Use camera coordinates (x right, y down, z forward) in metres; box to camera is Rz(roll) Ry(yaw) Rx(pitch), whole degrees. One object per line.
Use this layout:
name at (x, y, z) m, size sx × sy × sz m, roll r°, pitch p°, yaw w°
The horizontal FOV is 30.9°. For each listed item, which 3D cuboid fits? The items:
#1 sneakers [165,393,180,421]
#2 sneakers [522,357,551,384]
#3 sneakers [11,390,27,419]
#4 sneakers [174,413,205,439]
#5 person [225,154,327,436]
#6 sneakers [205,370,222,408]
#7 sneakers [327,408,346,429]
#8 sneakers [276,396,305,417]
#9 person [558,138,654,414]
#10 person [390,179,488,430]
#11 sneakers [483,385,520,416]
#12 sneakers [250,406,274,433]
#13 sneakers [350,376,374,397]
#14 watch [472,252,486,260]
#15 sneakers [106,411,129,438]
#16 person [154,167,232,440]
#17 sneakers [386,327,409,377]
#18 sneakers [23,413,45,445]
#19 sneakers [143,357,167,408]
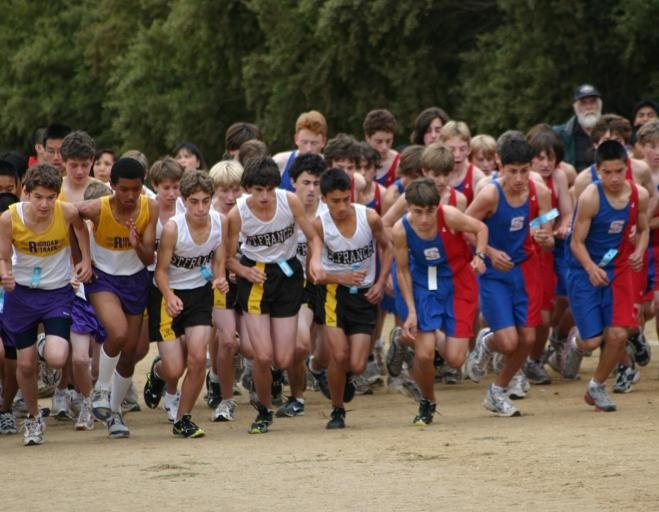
sneakers at (-1.626, 1.562, 12.294) m, size 0.139 × 0.182 × 0.400 m, roll -4°, pitch -4°, yaw -17°
sneakers at (2.387, 1.299, 13.391) m, size 0.165 × 0.230 × 0.490 m, roll 1°, pitch -2°, yaw -28°
sneakers at (-3.209, 1.540, 12.312) m, size 0.142 × 0.465 × 0.195 m, roll 2°, pitch -3°, yaw -23°
sneakers at (-1.333, 1.622, 11.325) m, size 0.152 × 0.186 × 0.348 m, roll 0°, pitch -1°, yaw -43°
person at (-0.532, 0.357, 11.576) m, size 0.886 × 2.638 × 0.583 m, roll -2°, pitch 5°, yaw -6°
sneakers at (-1.233, 1.435, 12.959) m, size 0.133 × 0.300 × 0.436 m, roll 3°, pitch 26°, yaw -7°
sneakers at (0.072, 1.569, 11.664) m, size 0.192 × 0.179 × 0.335 m, roll -2°, pitch 6°, yaw 0°
sneakers at (-0.381, 1.572, 12.398) m, size 0.127 × 0.175 × 0.362 m, roll 0°, pitch -3°, yaw 39°
person at (2.809, 0.165, 12.029) m, size 0.797 × 2.669 × 1.131 m, roll -1°, pitch 5°, yaw 12°
person at (1.088, 0.551, 11.576) m, size 0.907 × 2.100 × 0.539 m, roll -1°, pitch 5°, yaw 3°
sneakers at (1.734, 1.440, 11.838) m, size 0.185 × 0.265 × 0.515 m, roll 3°, pitch 9°, yaw -26°
sneakers at (-0.657, 1.568, 11.510) m, size 0.232 × 0.254 × 0.205 m, roll -2°, pitch 5°, yaw -5°
sneakers at (0.372, 1.466, 13.403) m, size 0.142 × 0.224 × 0.347 m, roll -30°, pitch -18°, yaw 21°
watch at (1.424, 0.002, 11.314) m, size 0.074 × 0.060 × 0.086 m, roll -9°, pitch -16°, yaw 38°
sneakers at (-2.031, 1.628, 11.490) m, size 0.212 × 0.248 × 0.200 m, roll -3°, pitch 5°, yaw -11°
person at (-1.300, 0.454, 11.354) m, size 0.701 × 2.520 × 0.667 m, roll -2°, pitch 5°, yaw -6°
sneakers at (0.787, 1.094, 13.273) m, size 0.179 × 0.605 × 0.240 m, roll 26°, pitch -42°, yaw -15°
sneakers at (-2.804, 1.657, 11.364) m, size 0.128 × 0.182 × 0.382 m, roll -2°, pitch 2°, yaw -2°
sneakers at (-1.838, 1.389, 12.498) m, size 0.171 × 0.239 × 0.549 m, roll 29°, pitch 23°, yaw -23°
